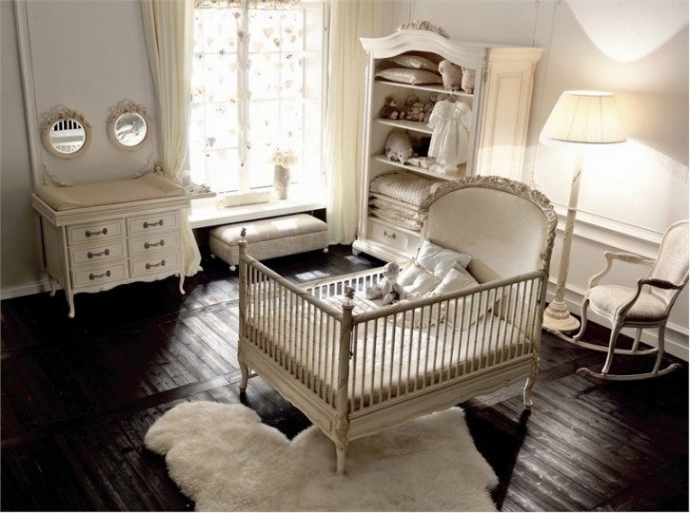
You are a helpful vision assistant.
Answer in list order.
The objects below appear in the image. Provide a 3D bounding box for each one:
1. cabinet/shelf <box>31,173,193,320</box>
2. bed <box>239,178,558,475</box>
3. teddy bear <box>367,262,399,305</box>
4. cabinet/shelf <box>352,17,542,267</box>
[{"bbox_3d":[-2.361,-0.161,5.233,0.812,1.102,1.313,21,25,40],"label":"cabinet/shelf"},{"bbox_3d":[0.373,0.244,3.932,2.012,1.767,1.548,-8,19,-36],"label":"bed"},{"bbox_3d":[0.321,0.208,4.081,0.232,0.316,0.264,-9,21,-37],"label":"teddy bear"},{"bbox_3d":[1.081,-1.221,5.179,1.008,2.956,1.950,-12,28,-34],"label":"cabinet/shelf"}]
